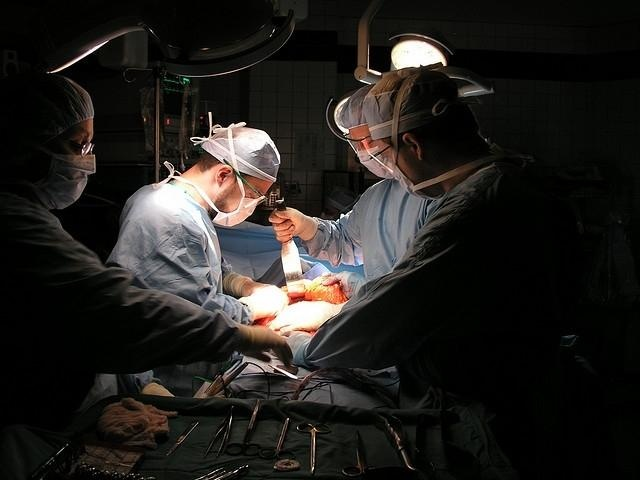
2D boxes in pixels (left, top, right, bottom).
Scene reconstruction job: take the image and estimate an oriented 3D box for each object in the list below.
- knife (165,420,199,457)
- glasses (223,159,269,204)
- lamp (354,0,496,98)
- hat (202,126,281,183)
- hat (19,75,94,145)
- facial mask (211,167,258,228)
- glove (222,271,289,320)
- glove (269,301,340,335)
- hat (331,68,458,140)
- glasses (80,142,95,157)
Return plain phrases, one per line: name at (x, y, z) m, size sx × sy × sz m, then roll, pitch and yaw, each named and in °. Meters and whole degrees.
knife at (-0.423, 0.608, 1.872) m, size 0.027 × 0.018 × 0.182 m, roll 13°, pitch 16°, yaw 13°
glasses at (-0.331, -0.248, 2.793) m, size 0.205 × 0.092 × 0.174 m, roll 37°, pitch 10°, yaw 17°
lamp at (0.455, -0.771, 2.700) m, size 0.580 × 0.613 × 0.400 m, roll -5°, pitch 2°, yaw 12°
hat at (-0.356, -0.407, 2.815) m, size 0.315 × 0.188 × 0.242 m, roll 19°, pitch 14°, yaw -17°
hat at (-0.831, -0.403, 1.958) m, size 0.227 × 0.195 × 0.170 m, roll 3°, pitch -7°, yaw -41°
facial mask at (-0.415, -0.190, 2.896) m, size 0.220 × 0.228 × 0.142 m, roll -23°, pitch -13°, yaw -1°
glove at (-0.299, 0.273, 2.914) m, size 0.227 × 0.084 × 0.227 m, roll -2°, pitch 24°, yaw -36°
glove at (-0.081, 0.345, 2.716) m, size 0.252 × 0.058 × 0.155 m, roll -1°, pitch 30°, yaw 31°
hat at (0.273, -0.467, 2.320) m, size 0.382 × 0.128 × 0.271 m, roll -8°, pitch 16°, yaw 46°
glasses at (-0.764, -0.293, 1.980) m, size 0.035 × 0.040 × 0.056 m, roll 35°, pitch -9°, yaw -24°
